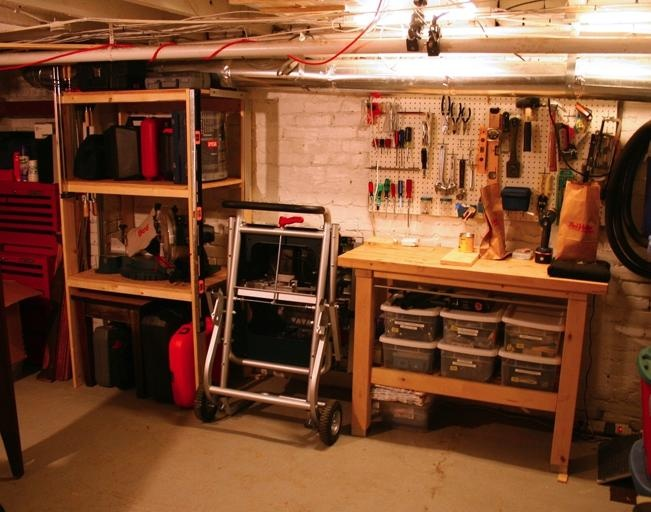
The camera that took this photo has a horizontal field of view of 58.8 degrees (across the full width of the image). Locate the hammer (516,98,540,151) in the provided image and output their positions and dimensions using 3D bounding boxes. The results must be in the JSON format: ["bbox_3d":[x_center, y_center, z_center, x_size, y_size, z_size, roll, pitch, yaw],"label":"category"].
[{"bbox_3d":[1.322,-0.867,3.785,0.152,0.352,0.104,4,14,17],"label":"hammer"}]

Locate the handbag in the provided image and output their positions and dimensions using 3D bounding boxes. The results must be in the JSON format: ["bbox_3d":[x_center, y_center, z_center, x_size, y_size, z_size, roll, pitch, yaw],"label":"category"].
[{"bbox_3d":[1.535,-0.211,3.493,0.223,0.466,0.179,6,14,23],"label":"handbag"}]

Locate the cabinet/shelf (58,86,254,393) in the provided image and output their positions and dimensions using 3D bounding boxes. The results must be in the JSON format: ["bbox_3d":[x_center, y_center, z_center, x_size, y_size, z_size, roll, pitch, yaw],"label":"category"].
[{"bbox_3d":[-1.205,-0.104,4.756,1.338,2.388,0.980,7,14,22],"label":"cabinet/shelf"}]

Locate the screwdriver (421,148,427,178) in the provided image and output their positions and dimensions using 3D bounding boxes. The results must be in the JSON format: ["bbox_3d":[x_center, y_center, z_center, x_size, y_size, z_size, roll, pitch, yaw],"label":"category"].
[{"bbox_3d":[0.694,-0.663,4.057,0.035,0.191,0.044,6,14,24],"label":"screwdriver"}]

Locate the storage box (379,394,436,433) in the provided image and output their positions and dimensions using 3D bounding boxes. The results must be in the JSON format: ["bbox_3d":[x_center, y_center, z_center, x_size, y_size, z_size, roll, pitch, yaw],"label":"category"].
[{"bbox_3d":[0.564,1.029,4.043,0.396,0.243,0.361,8,12,29],"label":"storage box"}]

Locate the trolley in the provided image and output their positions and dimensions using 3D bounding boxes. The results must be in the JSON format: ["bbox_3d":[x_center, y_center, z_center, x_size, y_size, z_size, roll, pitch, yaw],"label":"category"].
[{"bbox_3d":[-0.287,0.383,3.919,0.998,1.472,0.863,4,7,22],"label":"trolley"}]
